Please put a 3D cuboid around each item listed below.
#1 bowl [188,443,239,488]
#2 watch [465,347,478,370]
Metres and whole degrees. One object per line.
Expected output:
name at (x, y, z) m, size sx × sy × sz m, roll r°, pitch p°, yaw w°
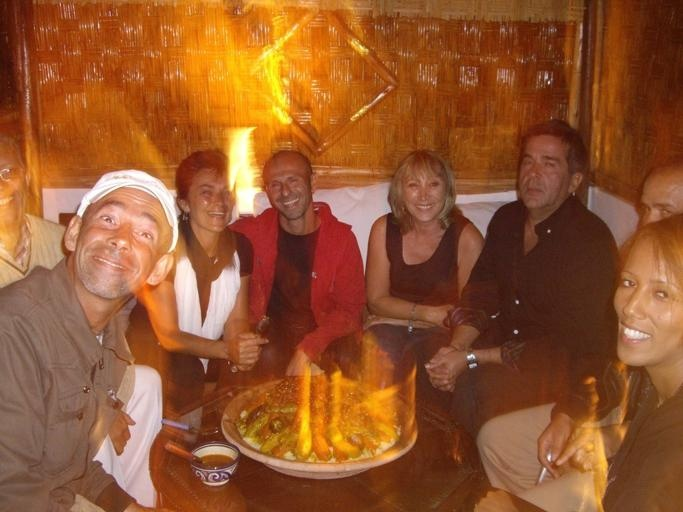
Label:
bowl at (-0.531, 0.876, 2.259) m, size 0.215 × 0.143 × 0.221 m, roll 8°, pitch 9°, yaw -1°
watch at (0.774, 0.624, 3.300) m, size 0.063 × 0.110 × 0.102 m, roll -2°, pitch -4°, yaw 8°
